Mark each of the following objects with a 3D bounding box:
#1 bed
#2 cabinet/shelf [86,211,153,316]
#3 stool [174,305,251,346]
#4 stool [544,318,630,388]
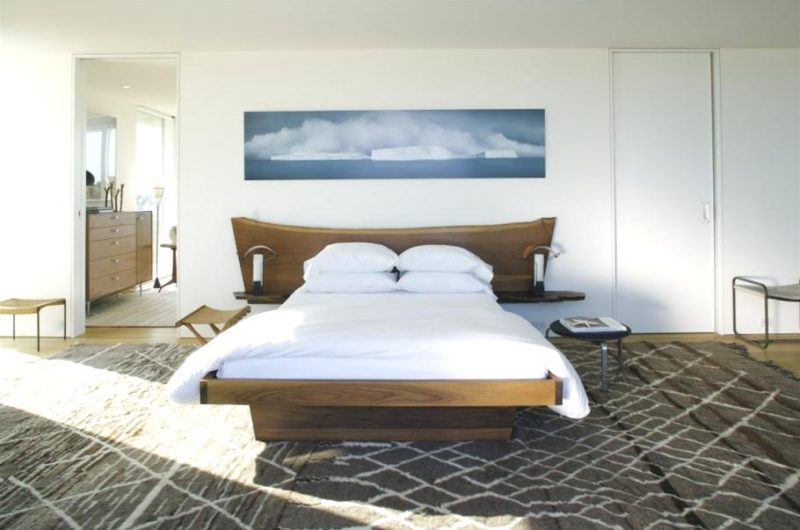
[{"bbox_3d":[-0.074,0.554,4.622,2.728,0.919,2.188,0,11,2],"label":"bed"},{"bbox_3d":[-3.703,-0.014,7.248,0.626,0.854,1.556,-1,5,-5],"label":"cabinet/shelf"},{"bbox_3d":[-1.675,0.491,4.997,0.647,0.428,0.547,3,8,2],"label":"stool"},{"bbox_3d":[1.652,0.736,4.793,0.718,0.327,0.639,-3,6,0],"label":"stool"}]
